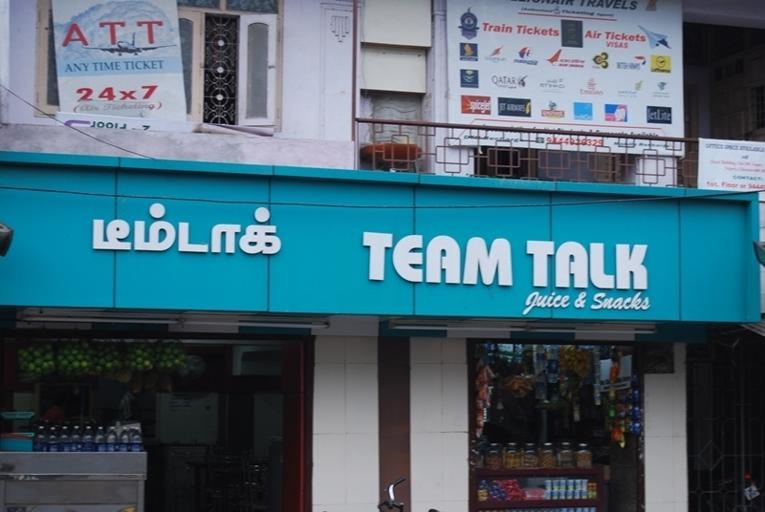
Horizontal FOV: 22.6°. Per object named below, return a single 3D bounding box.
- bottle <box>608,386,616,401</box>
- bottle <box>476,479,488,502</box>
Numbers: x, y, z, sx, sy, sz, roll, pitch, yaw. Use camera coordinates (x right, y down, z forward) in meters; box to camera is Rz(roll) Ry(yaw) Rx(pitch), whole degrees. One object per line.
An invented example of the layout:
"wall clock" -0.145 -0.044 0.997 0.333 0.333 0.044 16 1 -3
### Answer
"bottle" 4.014 2.375 33.081 0.119 0.225 0.063 -2 -9 6
"bottle" 1.753 3.976 32.467 0.199 0.323 0.079 0 -5 -3
